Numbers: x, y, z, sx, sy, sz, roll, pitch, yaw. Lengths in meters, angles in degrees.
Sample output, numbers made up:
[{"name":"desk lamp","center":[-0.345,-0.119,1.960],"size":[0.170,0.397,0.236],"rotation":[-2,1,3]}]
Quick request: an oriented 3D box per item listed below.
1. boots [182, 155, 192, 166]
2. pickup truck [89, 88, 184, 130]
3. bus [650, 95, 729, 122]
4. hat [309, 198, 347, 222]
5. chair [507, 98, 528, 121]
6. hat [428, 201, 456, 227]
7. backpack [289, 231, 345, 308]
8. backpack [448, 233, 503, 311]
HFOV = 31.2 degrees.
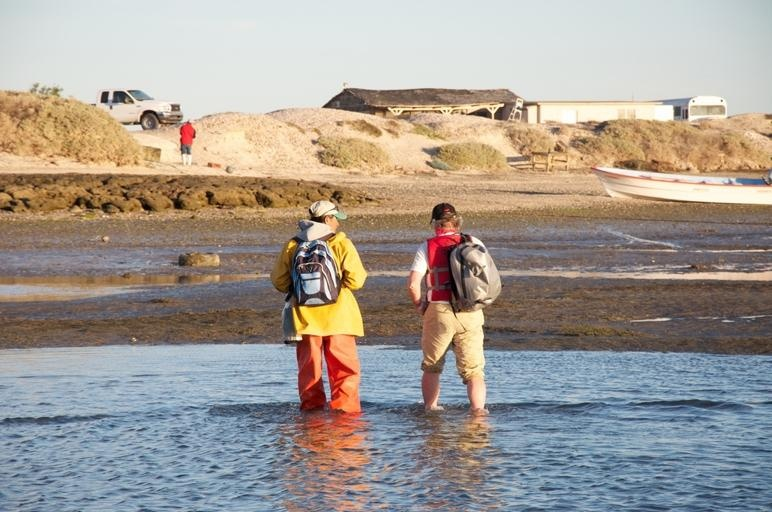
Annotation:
[{"name":"boots","center":[-7.539,-3.553,51.335],"size":[0.486,0.460,0.214],"rotation":[-2,14,-13]},{"name":"pickup truck","center":[-10.068,-5.799,54.940],"size":[3.439,1.488,1.690],"rotation":[-4,7,-26]},{"name":"bus","center":[20.553,-9.550,90.180],"size":[3.406,1.505,4.572],"rotation":[0,6,10]},{"name":"hat","center":[-0.809,-0.642,19.920],"size":[0.631,0.226,0.342],"rotation":[-2,5,-10]},{"name":"chair","center":[7.961,-8.888,84.210],"size":[1.003,1.358,2.380],"rotation":[-1,6,5]},{"name":"hat","center":[0.807,-0.600,19.999],"size":[0.331,0.196,0.400],"rotation":[-2,4,-5]},{"name":"backpack","center":[-1.037,0.268,19.595],"size":[0.690,0.969,0.294],"rotation":[-2,8,-2]},{"name":"backpack","center":[1.236,0.332,19.537],"size":[0.696,0.991,0.231],"rotation":[-2,8,0]}]
